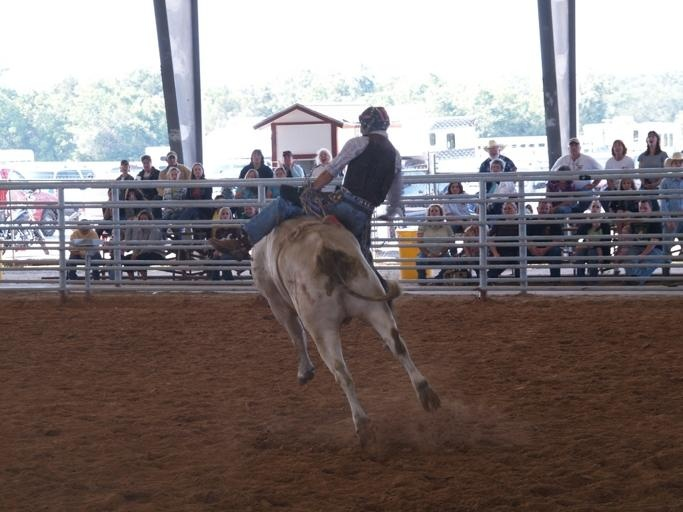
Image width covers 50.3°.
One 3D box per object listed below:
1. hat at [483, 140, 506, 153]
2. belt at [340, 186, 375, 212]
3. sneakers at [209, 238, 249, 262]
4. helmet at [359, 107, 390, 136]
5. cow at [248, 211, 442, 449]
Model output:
[{"bbox_3d":[2.696,-1.982,12.837,0.415,0.152,0.441,-3,-2,6],"label":"hat"},{"bbox_3d":[0.131,-0.513,6.539,0.267,0.091,0.204,34,7,27],"label":"belt"},{"bbox_3d":[-1.303,-0.083,8.483,0.448,0.281,0.137,20,-35,3],"label":"sneakers"},{"bbox_3d":[0.301,-1.227,6.598,0.312,0.268,0.242,16,18,40],"label":"helmet"},{"bbox_3d":[-0.027,0.523,6.111,0.799,1.634,1.794,-8,14,-25],"label":"cow"}]
